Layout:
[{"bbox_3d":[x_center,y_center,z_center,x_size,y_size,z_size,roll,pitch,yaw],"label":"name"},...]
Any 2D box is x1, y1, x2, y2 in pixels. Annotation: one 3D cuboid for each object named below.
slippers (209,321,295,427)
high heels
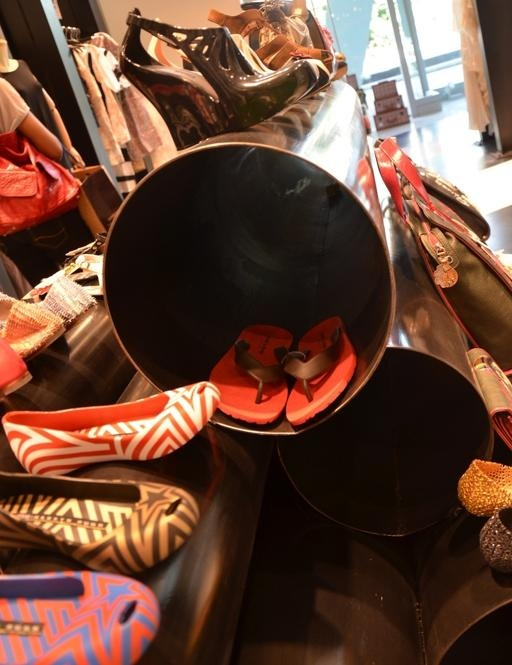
[{"bbox_3d":[0.002,0.038,0.673,0.097,0.054,0.238,8,26,4],"label":"slippers"},{"bbox_3d":[-0.069,-0.426,0.765,0.294,0.211,0.139,-1,30,38],"label":"high heels"}]
